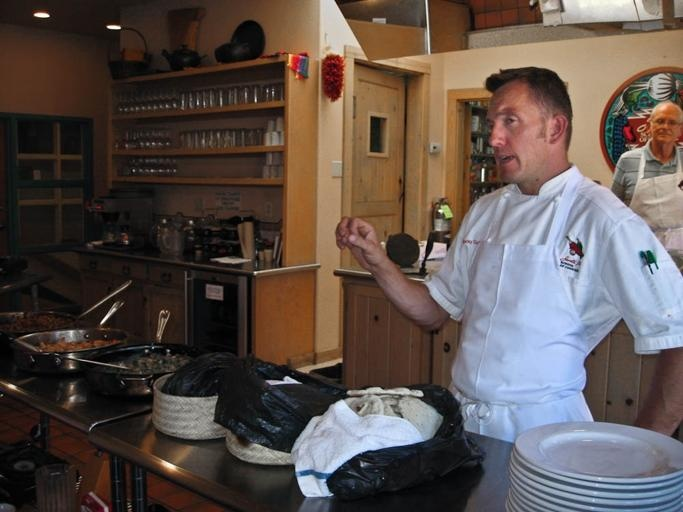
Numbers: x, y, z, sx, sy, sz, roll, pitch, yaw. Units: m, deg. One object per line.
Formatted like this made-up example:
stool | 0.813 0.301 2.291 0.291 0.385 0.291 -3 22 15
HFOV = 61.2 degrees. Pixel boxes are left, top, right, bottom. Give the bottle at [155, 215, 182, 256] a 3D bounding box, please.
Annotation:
bottle | -1.613 -0.172 5.369 0.404 0.400 0.133 2 2 38

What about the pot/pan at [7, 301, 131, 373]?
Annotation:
pot/pan | -1.066 0.320 2.315 0.277 0.148 0.461 1 0 29

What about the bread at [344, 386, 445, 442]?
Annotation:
bread | 0.132 0.391 1.435 0.240 0.090 0.133 -4 12 8

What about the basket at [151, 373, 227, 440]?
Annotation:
basket | -0.442 0.424 1.696 0.183 0.098 0.185 5 -3 26

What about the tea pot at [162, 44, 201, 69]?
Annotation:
tea pot | -1.544 -1.901 5.511 0.364 0.231 0.251 9 38 8

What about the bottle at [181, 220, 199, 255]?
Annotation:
bottle | -1.418 -0.170 5.392 0.153 0.283 0.337 -8 12 -13

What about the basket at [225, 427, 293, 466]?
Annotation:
basket | -0.221 0.508 1.530 0.112 0.042 0.111 3 2 10

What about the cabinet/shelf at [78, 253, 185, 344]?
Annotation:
cabinet/shelf | -1.848 0.453 5.482 1.476 0.879 0.466 6 8 30

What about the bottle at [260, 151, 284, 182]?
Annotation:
bottle | -0.611 -0.780 5.008 0.219 0.342 0.213 0 4 0
